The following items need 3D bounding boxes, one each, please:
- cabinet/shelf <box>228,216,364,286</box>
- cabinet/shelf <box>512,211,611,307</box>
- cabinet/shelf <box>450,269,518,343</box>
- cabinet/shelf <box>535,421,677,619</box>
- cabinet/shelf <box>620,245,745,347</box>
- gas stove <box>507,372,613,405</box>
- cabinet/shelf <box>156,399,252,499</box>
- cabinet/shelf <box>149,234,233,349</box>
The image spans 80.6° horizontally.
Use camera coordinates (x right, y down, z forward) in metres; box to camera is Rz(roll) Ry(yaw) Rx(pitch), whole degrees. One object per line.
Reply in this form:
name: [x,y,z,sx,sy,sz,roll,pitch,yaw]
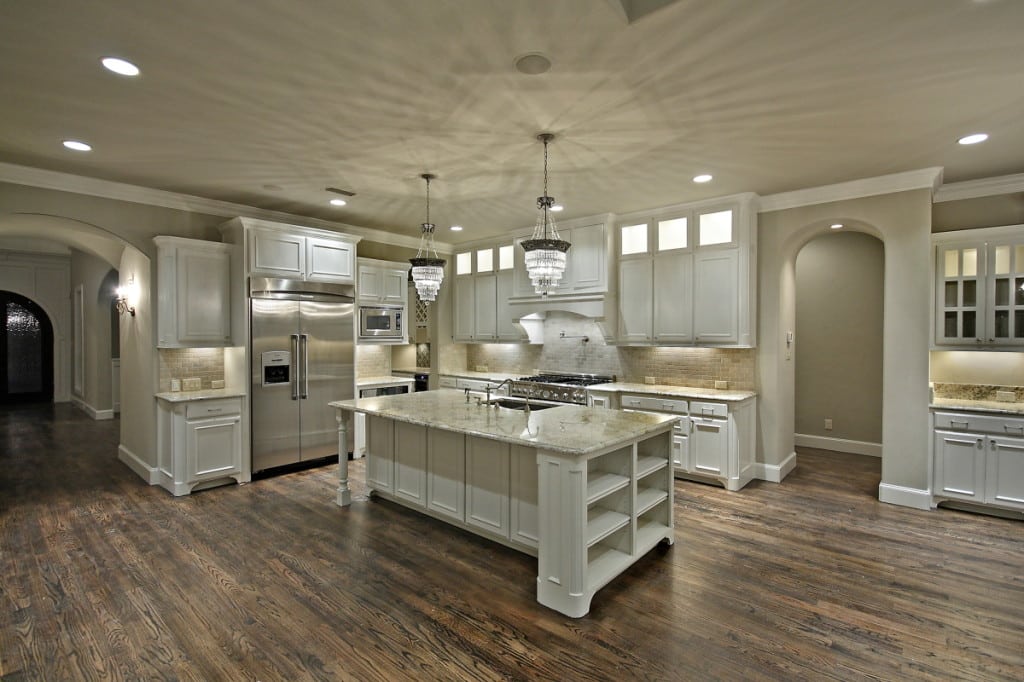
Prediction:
cabinet/shelf: [-2.634,-1.139,7.933,1.536,0.735,0.493,7,16,-1]
cabinet/shelf: [0.755,-1.068,8.577,1.339,1.108,0.482,-3,-13,20]
cabinet/shelf: [-0.548,-0.546,9.707,1.396,1.157,0.512,-6,7,-43]
cabinet/shelf: [0.919,1.502,5.685,0.648,1.437,1.728,3,7,44]
cabinet/shelf: [2.217,-0.576,7.644,1.377,1.102,0.545,0,-2,37]
gas stove: [0.655,0.651,8.495,1.422,0.321,0.876,1,3,27]
cabinet/shelf: [-3.805,1.192,7.396,0.914,1.068,0.781,-1,3,-41]
cabinet/shelf: [-3.795,-0.585,7.277,0.790,1.296,0.287,-2,4,-21]
